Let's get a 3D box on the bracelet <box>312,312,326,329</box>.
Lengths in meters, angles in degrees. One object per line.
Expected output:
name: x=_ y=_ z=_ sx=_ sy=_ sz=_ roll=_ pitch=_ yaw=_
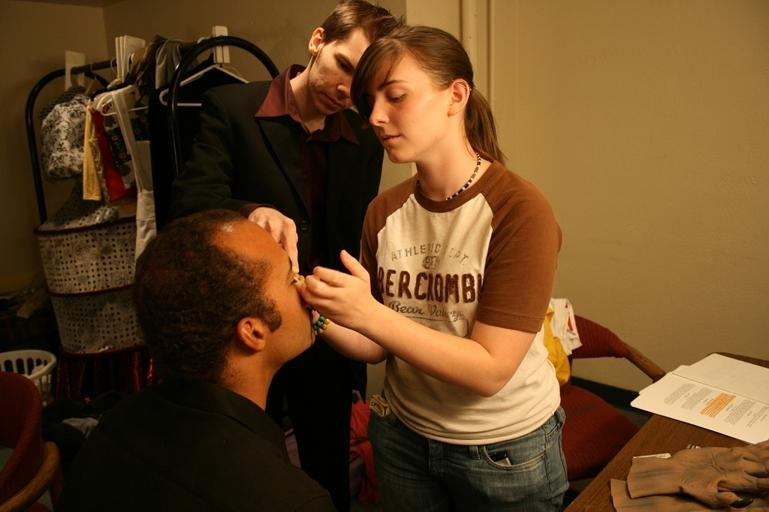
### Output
bracelet: x=-0.221 y=0.213 z=1.996 sx=0.013 sy=0.048 sz=0.048 roll=26 pitch=-10 yaw=45

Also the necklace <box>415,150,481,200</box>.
necklace: x=0.234 y=-0.266 z=1.912 sx=0.011 sy=0.135 sz=0.116 roll=36 pitch=1 yaw=-24

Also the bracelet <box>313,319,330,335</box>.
bracelet: x=-0.212 y=0.235 z=1.992 sx=0.016 sy=0.050 sz=0.052 roll=37 pitch=-20 yaw=28
